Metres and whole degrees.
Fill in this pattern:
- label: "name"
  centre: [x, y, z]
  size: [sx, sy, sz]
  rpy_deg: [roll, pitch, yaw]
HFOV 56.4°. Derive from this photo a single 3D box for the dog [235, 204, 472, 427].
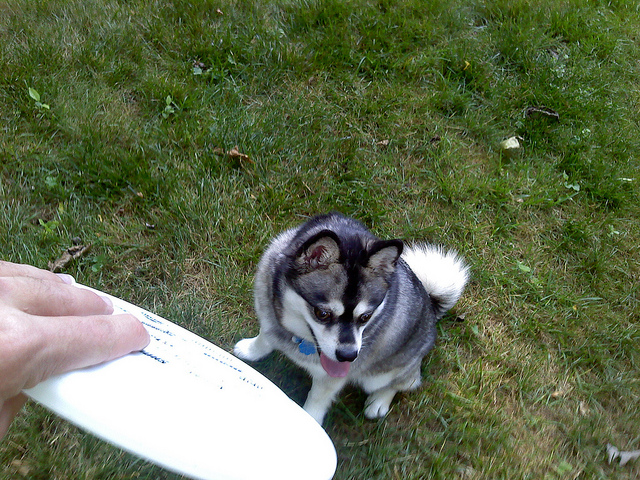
- label: "dog"
  centre: [0.166, 0.360, 5.612]
  size: [1.350, 1.918, 2.322]
  rpy_deg: [13, 37, 1]
